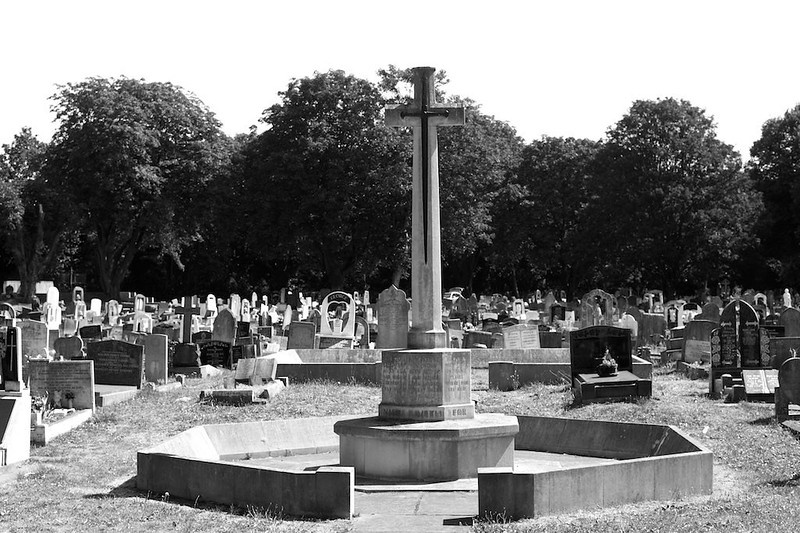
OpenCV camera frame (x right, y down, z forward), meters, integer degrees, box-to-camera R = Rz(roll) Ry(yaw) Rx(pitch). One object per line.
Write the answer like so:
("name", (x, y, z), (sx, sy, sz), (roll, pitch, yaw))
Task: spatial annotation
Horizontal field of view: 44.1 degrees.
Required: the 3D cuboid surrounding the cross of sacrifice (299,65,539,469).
("cross of sacrifice", (0.408, -0.023, 18.771), (2.578, 8.036, 1.951), (-4, -6, 37))
